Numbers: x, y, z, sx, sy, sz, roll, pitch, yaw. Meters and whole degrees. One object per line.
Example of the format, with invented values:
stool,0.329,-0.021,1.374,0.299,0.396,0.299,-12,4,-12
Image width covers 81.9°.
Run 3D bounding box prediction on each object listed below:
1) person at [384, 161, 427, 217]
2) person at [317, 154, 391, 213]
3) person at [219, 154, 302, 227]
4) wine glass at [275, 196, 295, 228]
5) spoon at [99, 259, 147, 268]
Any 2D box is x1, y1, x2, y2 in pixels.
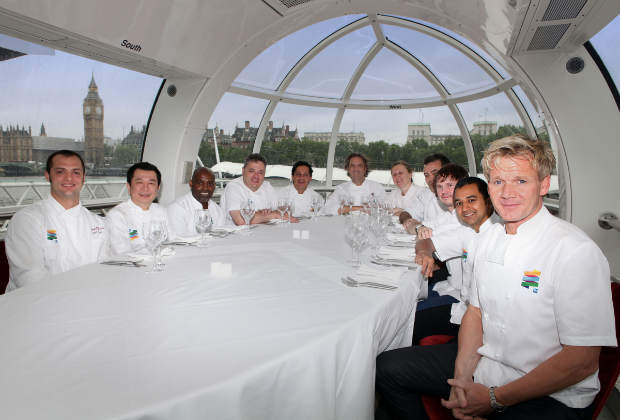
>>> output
person,1.455,-0.278,5.500,0.586,0.956,0.637,-1,-4,-41
person,0.730,-0.333,5.588,1.138,1.175,0.623,-4,6,-1
person,-0.628,-0.241,4.470,1.030,0.956,0.787,9,15,32
wine glass,-0.243,0.043,3.988,0.233,0.476,0.244,1,3,2
spoon,-1.273,0.364,2.438,0.323,0.022,0.111,2,17,1
